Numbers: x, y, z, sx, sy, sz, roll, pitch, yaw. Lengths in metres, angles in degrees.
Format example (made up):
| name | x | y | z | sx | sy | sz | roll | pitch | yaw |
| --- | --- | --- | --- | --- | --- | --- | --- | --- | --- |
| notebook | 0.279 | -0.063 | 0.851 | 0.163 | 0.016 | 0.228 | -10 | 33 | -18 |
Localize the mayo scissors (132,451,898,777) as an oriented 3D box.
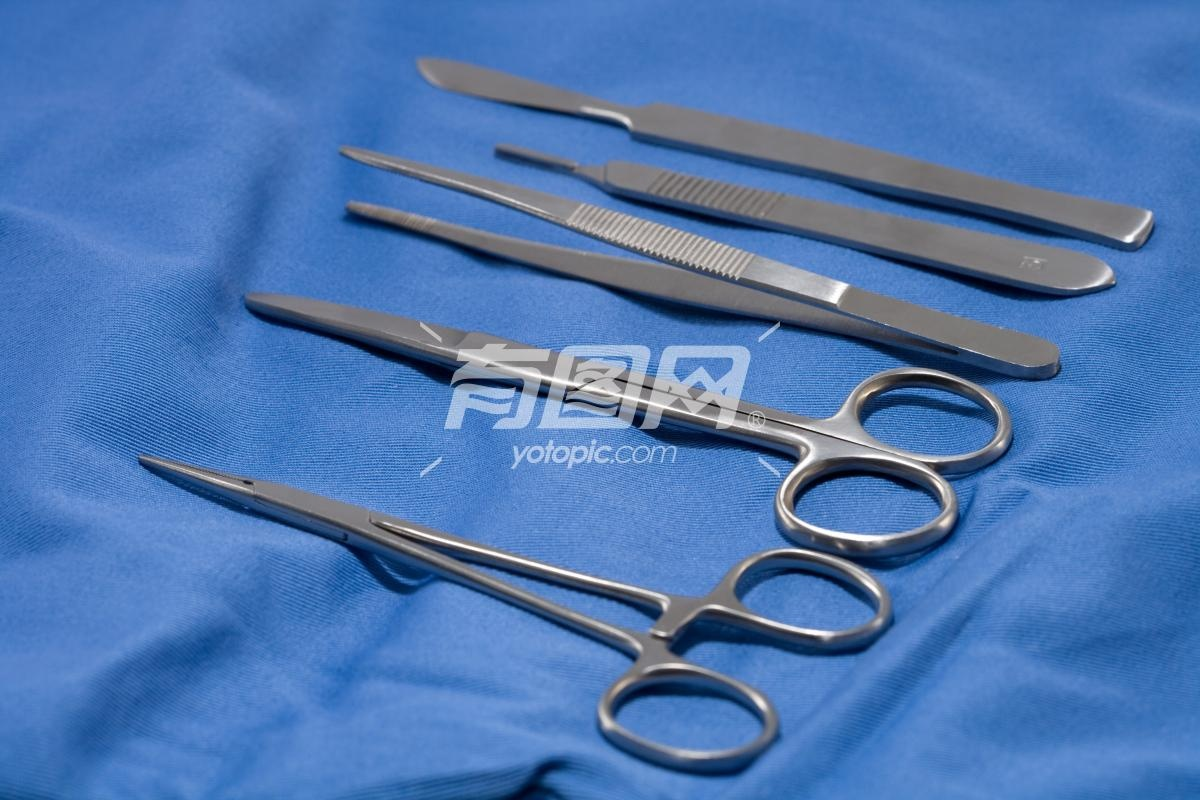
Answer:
| name | x | y | z | sx | sy | sz | roll | pitch | yaw |
| --- | --- | --- | --- | --- | --- | --- | --- | --- | --- |
| mayo scissors | -0.116 | 0.173 | 1.004 | 0.707 | 0.267 | 0.193 | 12 | 85 | 3 |
